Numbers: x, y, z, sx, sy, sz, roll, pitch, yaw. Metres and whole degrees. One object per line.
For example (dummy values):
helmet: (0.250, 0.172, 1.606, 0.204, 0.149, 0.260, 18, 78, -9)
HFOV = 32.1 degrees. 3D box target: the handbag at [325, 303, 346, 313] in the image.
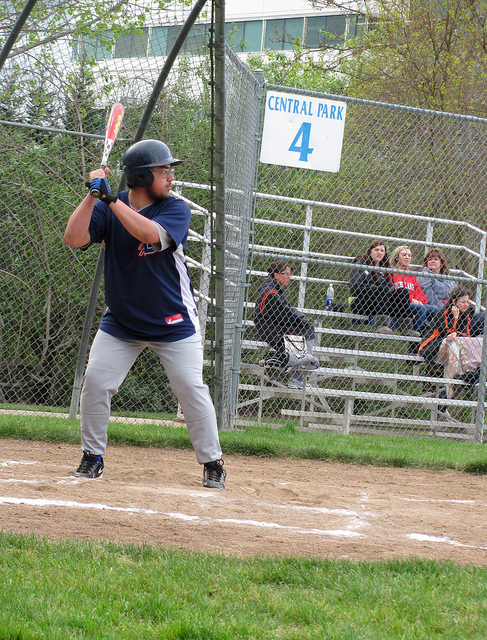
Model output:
handbag: (1.072, -0.129, 9.618, 0.156, 0.070, 0.203, 1, -2, -35)

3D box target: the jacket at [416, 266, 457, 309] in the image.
jacket: (2.111, -0.338, 9.305, 0.284, 0.377, 0.370, -12, 32, 33)

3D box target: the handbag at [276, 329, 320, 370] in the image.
handbag: (0.529, 0.317, 8.203, 0.515, 0.303, 0.164, 6, -5, -9)

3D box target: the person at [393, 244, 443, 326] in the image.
person: (1.788, -0.277, 9.151, 0.512, 0.965, 0.702, 3, 8, -11)

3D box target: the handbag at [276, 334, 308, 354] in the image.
handbag: (0.448, 0.231, 8.180, 0.307, 0.175, 0.195, -1, 5, -2)

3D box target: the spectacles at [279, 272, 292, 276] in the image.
spectacles: (0.409, -0.455, 8.395, 0.116, 0.031, 0.040, 2, 3, -31)

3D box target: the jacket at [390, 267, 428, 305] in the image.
jacket: (1.808, -0.333, 9.249, 0.251, 0.239, 0.912, 5, 2, 25)

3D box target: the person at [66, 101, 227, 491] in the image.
person: (-0.528, -0.054, 4.584, 0.892, 1.998, 0.643, 4, 3, 3)

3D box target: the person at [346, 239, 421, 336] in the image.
person: (1.517, -0.338, 9.069, 0.911, 0.654, 0.698, 3, 2, -11)

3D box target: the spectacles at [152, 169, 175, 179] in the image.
spectacles: (-0.445, -0.803, 4.618, 0.029, 0.061, 0.139, 6, 3, 33)

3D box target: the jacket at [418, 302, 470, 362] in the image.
jacket: (2.244, 0.112, 8.951, 0.518, 0.697, 0.603, 12, 14, 20)
